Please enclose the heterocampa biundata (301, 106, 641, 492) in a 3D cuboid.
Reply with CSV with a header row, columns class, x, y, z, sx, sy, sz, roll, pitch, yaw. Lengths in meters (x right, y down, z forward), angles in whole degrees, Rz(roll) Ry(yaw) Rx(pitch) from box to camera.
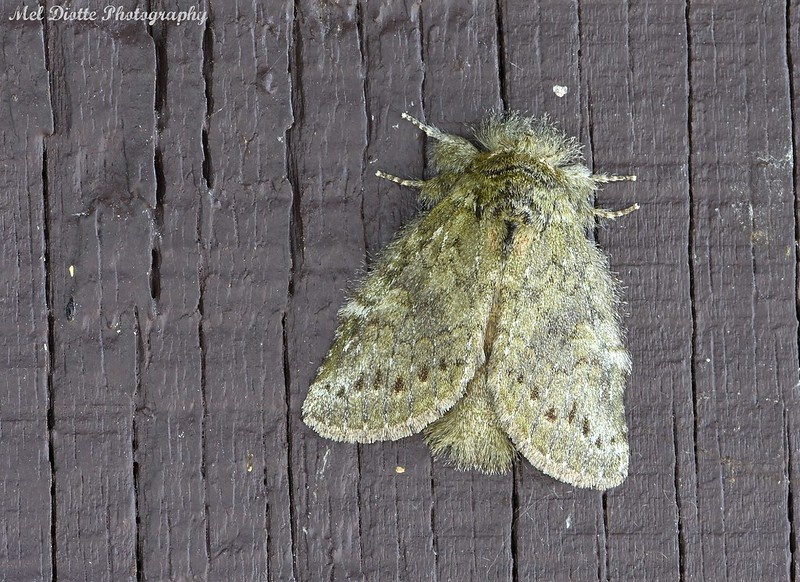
class,x,y,z,sx,sy,sz,roll,pitch,yaw
heterocampa biundata,0.515,-0.012,8.303,1.766,0.254,2.126,5,85,1
